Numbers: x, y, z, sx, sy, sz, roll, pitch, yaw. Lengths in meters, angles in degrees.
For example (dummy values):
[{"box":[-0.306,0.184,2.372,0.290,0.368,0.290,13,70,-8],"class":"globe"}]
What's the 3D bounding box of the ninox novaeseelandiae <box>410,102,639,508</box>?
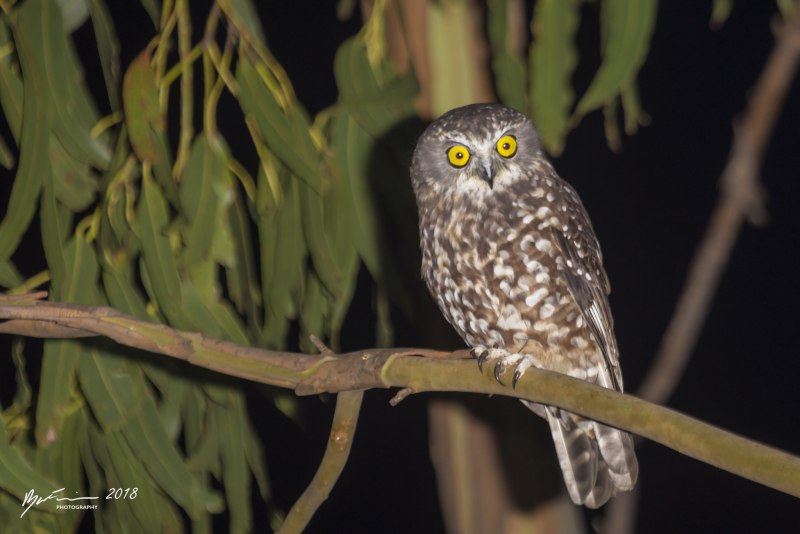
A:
[{"box":[0.499,0.162,5.319,0.819,1.693,0.582,-5,10,-1],"class":"ninox novaeseelandiae"}]
